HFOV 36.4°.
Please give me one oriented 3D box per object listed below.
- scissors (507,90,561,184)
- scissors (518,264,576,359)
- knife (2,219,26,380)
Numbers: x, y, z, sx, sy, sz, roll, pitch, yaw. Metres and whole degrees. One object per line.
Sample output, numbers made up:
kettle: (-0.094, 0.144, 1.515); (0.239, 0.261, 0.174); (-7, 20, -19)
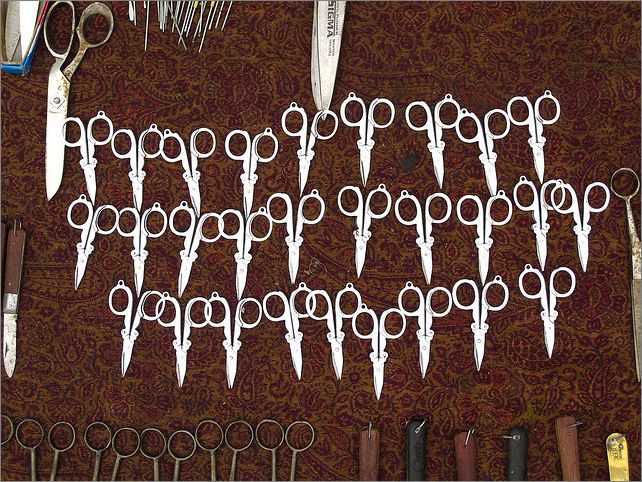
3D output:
scissors: (0.630, -0.298, 2.814); (0.147, 0.267, 0.266); (1, 23, 26)
scissors: (0.619, 0.180, 2.745); (0.158, 0.252, 0.013); (19, -5, 2)
knife: (-0.865, 0.161, 2.760); (0.044, 0.439, 0.049); (2, -3, -1)
